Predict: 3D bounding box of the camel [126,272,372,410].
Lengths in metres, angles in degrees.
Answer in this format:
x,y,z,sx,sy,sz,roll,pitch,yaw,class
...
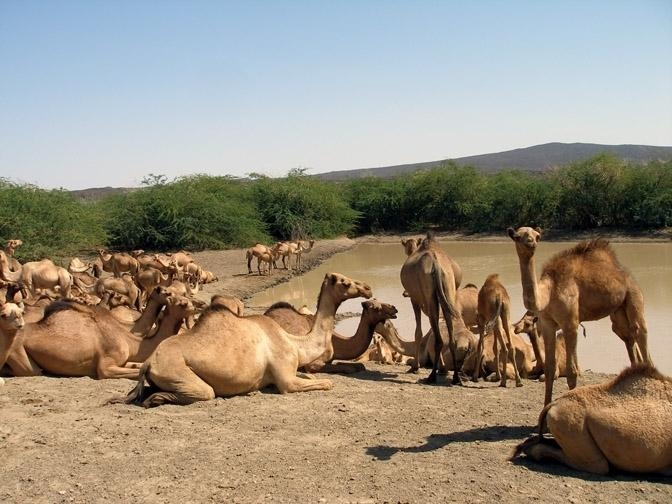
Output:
x,y,z,sx,sy,sz,roll,pitch,yaw,class
-0.996,1.075,8.675,3.057,1.194,0.921,-6,7,-24,camel
